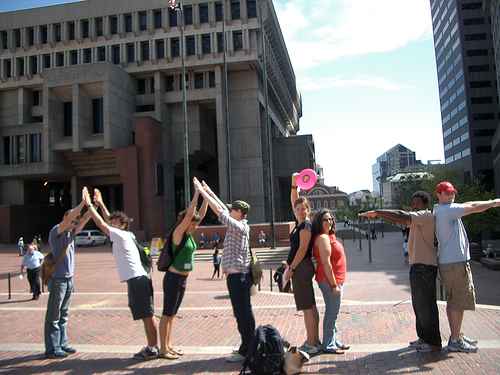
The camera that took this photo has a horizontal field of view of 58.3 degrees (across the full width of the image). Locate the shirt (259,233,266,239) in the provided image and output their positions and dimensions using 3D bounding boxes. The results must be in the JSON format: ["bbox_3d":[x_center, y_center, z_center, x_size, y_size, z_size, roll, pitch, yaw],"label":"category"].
[{"bbox_3d":[0.856,3.484,32.283,0.415,0.451,0.251,1,-11,1],"label":"shirt"}]

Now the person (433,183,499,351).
[{"bbox_3d":[4.176,1.526,8.839,0.877,3.265,0.528,-4,-4,31],"label":"person"}]

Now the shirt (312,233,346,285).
[{"bbox_3d":[1.756,1.540,9.529,0.767,1.505,1.018,-4,-6,14],"label":"shirt"}]

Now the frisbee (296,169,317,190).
[{"bbox_3d":[1.282,-0.186,9.928,0.433,0.466,0.493,-3,-4,20],"label":"frisbee"}]

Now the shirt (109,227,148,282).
[{"bbox_3d":[-2.529,1.405,9.401,0.540,1.056,1.068,-12,-14,3],"label":"shirt"}]

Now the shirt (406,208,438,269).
[{"bbox_3d":[3.433,0.974,9.052,0.687,1.136,0.923,2,-4,13],"label":"shirt"}]

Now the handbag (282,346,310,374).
[{"bbox_3d":[0.849,3.203,8.311,0.389,0.503,0.464,-1,-6,-2],"label":"handbag"}]

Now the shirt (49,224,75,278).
[{"bbox_3d":[-4.049,1.363,9.618,0.510,1.136,0.357,0,-3,-27],"label":"shirt"}]

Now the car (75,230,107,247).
[{"bbox_3d":[-13.938,4.453,39.353,1.014,0.908,2.331,0,1,18],"label":"car"}]

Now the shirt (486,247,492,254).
[{"bbox_3d":[13.821,3.682,25.740,0.059,0.295,0.271,5,4,-14],"label":"shirt"}]

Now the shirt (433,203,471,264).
[{"bbox_3d":[4.072,0.924,9.070,0.638,1.163,0.901,-9,-13,13],"label":"shirt"}]

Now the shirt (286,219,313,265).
[{"bbox_3d":[0.989,1.116,9.449,0.621,1.257,1.223,2,-13,4],"label":"shirt"}]

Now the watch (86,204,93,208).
[{"bbox_3d":[-3.411,0.380,9.474,0.107,0.093,0.116,0,-9,-3],"label":"watch"}]

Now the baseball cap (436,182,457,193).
[{"bbox_3d":[3.950,-0.001,9.009,0.210,0.190,0.291,2,-10,-40],"label":"baseball cap"}]

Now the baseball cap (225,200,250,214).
[{"bbox_3d":[-0.214,0.372,9.007,0.374,0.171,0.256,13,0,9],"label":"baseball cap"}]

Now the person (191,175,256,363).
[{"bbox_3d":[-0.378,1.690,8.816,0.901,3.486,0.996,-2,-3,-3],"label":"person"}]

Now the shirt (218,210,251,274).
[{"bbox_3d":[-0.284,1.076,8.821,0.574,1.262,0.686,-2,-3,1],"label":"shirt"}]

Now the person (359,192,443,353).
[{"bbox_3d":[3.206,1.834,8.705,1.118,2.779,0.448,0,-4,-35],"label":"person"}]

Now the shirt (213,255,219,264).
[{"bbox_3d":[-1.632,3.394,21.092,0.296,0.483,0.265,0,-8,-7],"label":"shirt"}]

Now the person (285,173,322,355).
[{"bbox_3d":[1.079,1.767,9.031,0.664,3.103,0.458,-2,-3,-1],"label":"person"}]

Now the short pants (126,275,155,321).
[{"bbox_3d":[-2.246,2.243,9.326,0.379,0.715,0.699,-1,-13,7],"label":"short pants"}]

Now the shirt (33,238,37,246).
[{"bbox_3d":[-16.049,4.039,33.341,0.158,0.415,2.230,0,-4,-25],"label":"shirt"}]
